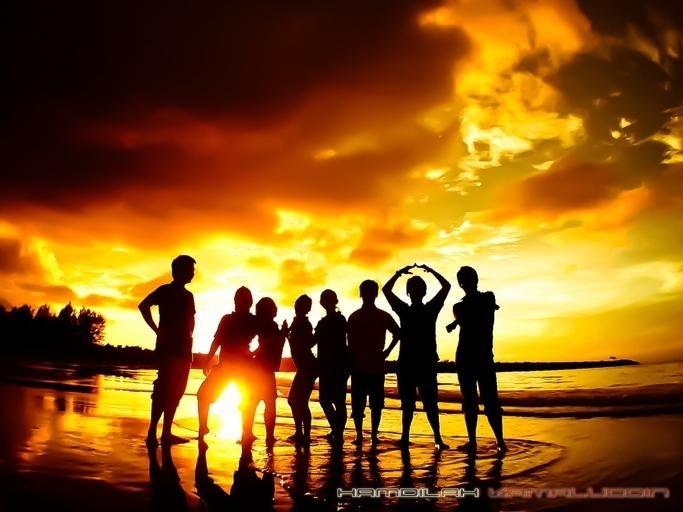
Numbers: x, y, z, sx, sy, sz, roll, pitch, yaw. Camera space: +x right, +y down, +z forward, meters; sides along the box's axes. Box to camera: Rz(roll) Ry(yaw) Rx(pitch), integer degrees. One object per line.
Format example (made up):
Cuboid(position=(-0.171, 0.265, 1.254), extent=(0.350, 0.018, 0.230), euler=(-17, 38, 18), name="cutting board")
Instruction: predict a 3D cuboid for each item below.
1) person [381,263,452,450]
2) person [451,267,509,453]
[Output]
Cuboid(position=(1.513, 1.915, 14.285), extent=(1.226, 3.555, 1.266), euler=(-2, -17, 2), name="person")
Cuboid(position=(2.610, 1.960, 14.131), extent=(0.908, 3.512, 1.069), euler=(-5, -17, 11), name="person")
